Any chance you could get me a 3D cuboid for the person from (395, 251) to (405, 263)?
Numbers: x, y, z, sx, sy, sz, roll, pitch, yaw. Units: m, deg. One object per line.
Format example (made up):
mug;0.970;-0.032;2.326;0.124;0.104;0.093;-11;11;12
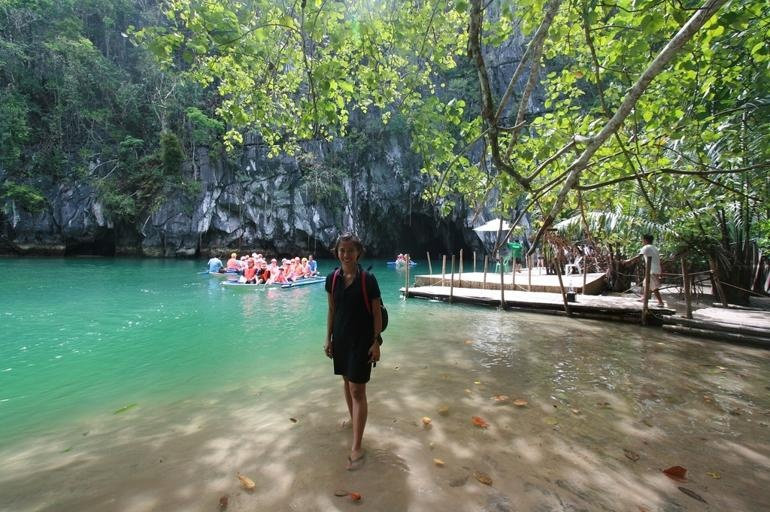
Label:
person;0.951;0.120;28.938;0.466;0.630;1.067;0;-5;9
